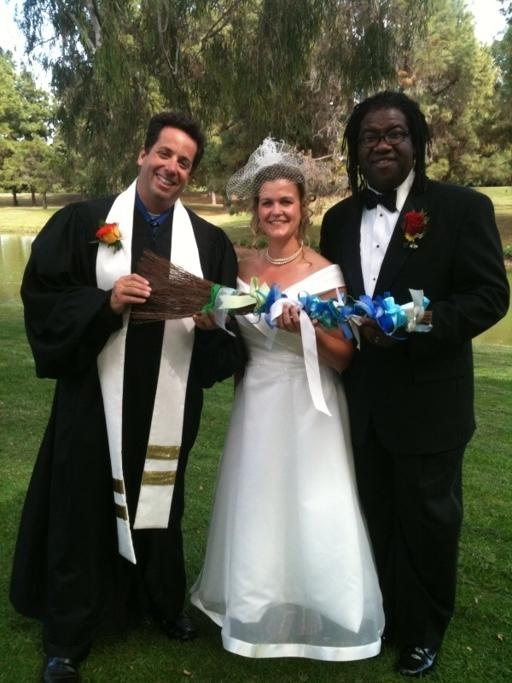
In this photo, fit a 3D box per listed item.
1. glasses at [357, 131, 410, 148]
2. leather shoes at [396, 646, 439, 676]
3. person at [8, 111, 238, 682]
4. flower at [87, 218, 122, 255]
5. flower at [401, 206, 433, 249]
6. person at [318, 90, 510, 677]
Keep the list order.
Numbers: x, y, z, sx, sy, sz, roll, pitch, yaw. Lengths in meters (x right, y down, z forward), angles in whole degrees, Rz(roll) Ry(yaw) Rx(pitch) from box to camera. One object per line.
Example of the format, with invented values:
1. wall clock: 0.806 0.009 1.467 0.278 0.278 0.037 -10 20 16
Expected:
1. glasses: 0.531 -0.840 2.459 0.190 0.064 0.039 3 12 9
2. leather shoes: 0.661 1.318 2.459 0.141 0.051 0.079 -19 19 -41
3. person: -0.582 0.319 2.590 0.990 2.011 0.598 -8 15 -38
4. flower: -0.622 -0.458 2.534 0.063 0.121 0.129 33 -15 -36
5. flower: 0.650 -0.461 2.431 0.090 0.147 0.143 27 -13 25
6. person: 0.667 0.129 2.601 0.467 2.368 0.808 -5 13 -26
